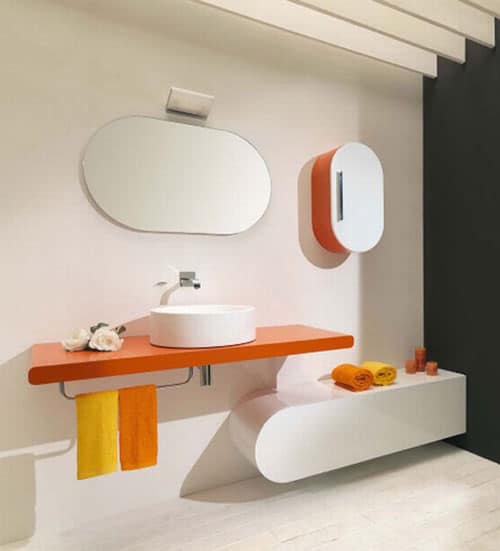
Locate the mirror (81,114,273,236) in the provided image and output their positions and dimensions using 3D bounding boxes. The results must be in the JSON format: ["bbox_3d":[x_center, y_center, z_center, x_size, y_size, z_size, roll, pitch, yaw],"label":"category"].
[{"bbox_3d":[-0.364,-0.447,2.288,0.621,0.351,0.079,-2,4,-25],"label":"mirror"}]

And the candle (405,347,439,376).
[{"bbox_3d":[0.960,0.485,2.833,0.154,0.110,0.149,-1,2,-37],"label":"candle"}]

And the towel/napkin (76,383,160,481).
[{"bbox_3d":[-0.528,0.602,2.008,0.310,0.328,0.138,-3,5,-21],"label":"towel/napkin"}]

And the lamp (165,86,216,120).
[{"bbox_3d":[-0.256,-0.756,2.274,0.231,0.082,0.233,-2,5,-18],"label":"lamp"}]
